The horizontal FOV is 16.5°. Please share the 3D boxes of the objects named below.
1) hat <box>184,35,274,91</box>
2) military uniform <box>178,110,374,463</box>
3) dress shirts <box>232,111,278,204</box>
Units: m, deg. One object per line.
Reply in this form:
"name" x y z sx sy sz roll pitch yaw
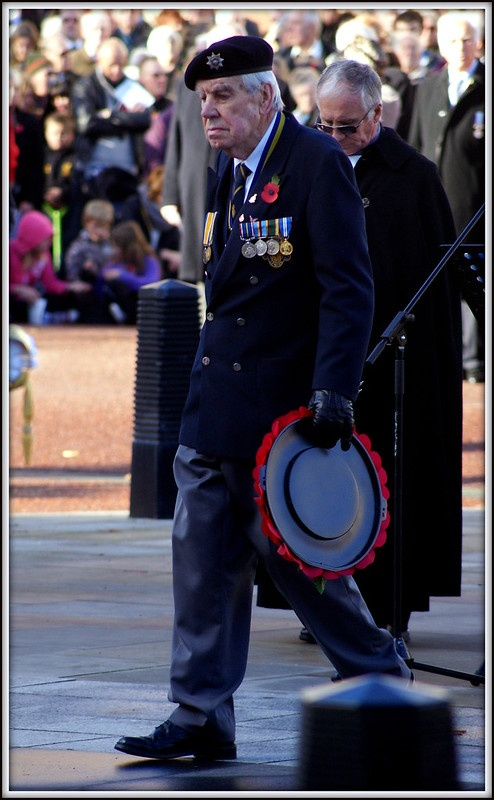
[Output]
"hat" -0.044 -0.816 4.098 0.213 0.134 0.174 1 3 -2
"military uniform" 0.087 -0.271 4.038 0.484 0.831 0.205 3 4 41
"dress shirts" 0.029 -0.589 4.116 0.049 0.176 0.127 16 15 5
